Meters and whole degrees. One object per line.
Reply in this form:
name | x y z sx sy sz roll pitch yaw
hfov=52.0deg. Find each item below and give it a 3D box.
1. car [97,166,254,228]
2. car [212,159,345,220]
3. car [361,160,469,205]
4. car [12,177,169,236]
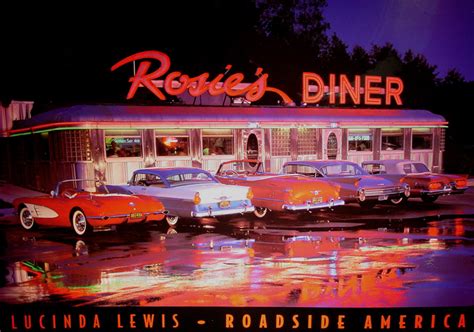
car | -1.934 0.981 14.352 4.184 1.243 1.839 8 7 44
car | 0.929 0.728 15.158 1.773 1.337 4.151 -4 10 -42
car | 6.070 0.741 17.568 1.856 0.959 3.008 -3 8 -35
car | -4.235 1.085 13.213 3.656 1.166 1.930 5 2 34
